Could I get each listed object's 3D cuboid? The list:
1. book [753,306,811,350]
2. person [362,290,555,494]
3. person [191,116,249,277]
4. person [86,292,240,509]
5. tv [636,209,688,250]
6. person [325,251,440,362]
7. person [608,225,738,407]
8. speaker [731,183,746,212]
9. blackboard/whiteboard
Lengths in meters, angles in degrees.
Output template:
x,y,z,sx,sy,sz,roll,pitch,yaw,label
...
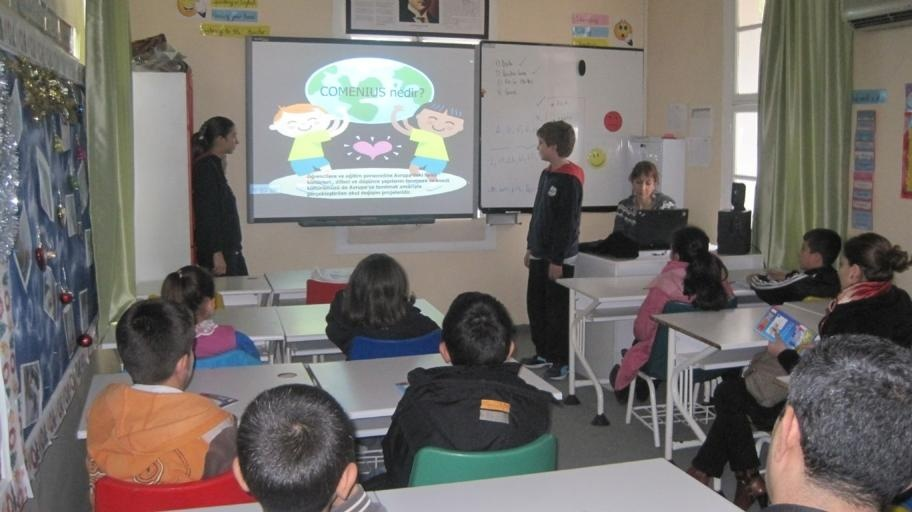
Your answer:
x,y,z,sx,sy,sz,roll,pitch,yaw,label
1.942,0.441,3.948,0.202,0.073,0.271,-42,55,-12,book
0.067,0.622,3.109,0.854,0.892,0.538,-4,27,-10,person
-2.091,-0.510,5.682,0.395,1.374,0.491,-4,9,-6,person
-1.355,0.661,3.020,0.719,0.829,0.521,3,17,0,person
1.755,-0.269,5.797,0.522,0.413,0.343,-1,9,-7,tv
-0.482,0.248,4.105,0.690,0.819,0.628,-1,13,-9,person
1.516,0.399,4.616,0.977,1.227,1.143,-1,7,-10,person
2.428,-0.516,5.669,0.086,0.230,0.238,0,8,18,speaker
1.003,-1.317,6.583,2.100,1.607,0.225,-1,4,-18,blackboard/whiteboard
